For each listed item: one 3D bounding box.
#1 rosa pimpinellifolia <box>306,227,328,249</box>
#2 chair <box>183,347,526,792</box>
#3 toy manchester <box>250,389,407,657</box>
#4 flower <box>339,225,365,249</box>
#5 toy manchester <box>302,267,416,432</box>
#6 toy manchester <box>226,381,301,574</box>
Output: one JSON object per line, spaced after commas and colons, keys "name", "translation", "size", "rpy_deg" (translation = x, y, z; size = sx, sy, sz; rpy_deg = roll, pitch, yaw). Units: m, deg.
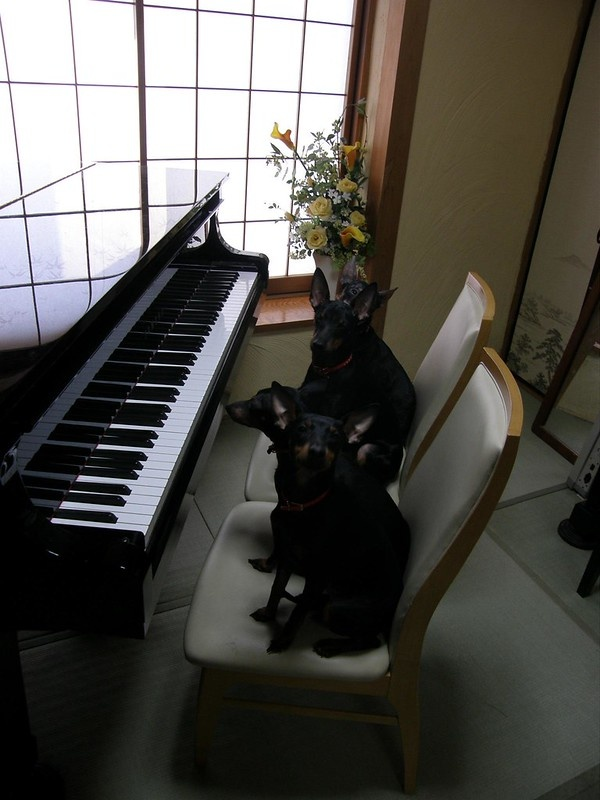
{"name": "rosa pimpinellifolia", "translation": [0.079, -0.715, 2.613], "size": [0.092, 0.097, 0.048], "rpy_deg": [-15, 3, 20]}
{"name": "chair", "translation": [0.096, 0.349, 1.365], "size": [0.611, 1.003, 0.549], "rpy_deg": [8, 34, 5]}
{"name": "toy manchester", "translation": [0.054, 0.260, 1.164], "size": [0.353, 0.567, 0.259], "rpy_deg": [-3, 34, -16]}
{"name": "flower", "translation": [0.243, -0.756, 2.662], "size": [0.054, 0.088, 0.092], "rpy_deg": [-7, 16, -11]}
{"name": "toy manchester", "translation": [0.184, -0.141, 1.755], "size": [0.323, 0.495, 0.284], "rpy_deg": [6, 27, 5]}
{"name": "toy manchester", "translation": [-0.003, 0.073, 1.204], "size": [0.138, 0.262, 0.501], "rpy_deg": [-3, 12, -3]}
